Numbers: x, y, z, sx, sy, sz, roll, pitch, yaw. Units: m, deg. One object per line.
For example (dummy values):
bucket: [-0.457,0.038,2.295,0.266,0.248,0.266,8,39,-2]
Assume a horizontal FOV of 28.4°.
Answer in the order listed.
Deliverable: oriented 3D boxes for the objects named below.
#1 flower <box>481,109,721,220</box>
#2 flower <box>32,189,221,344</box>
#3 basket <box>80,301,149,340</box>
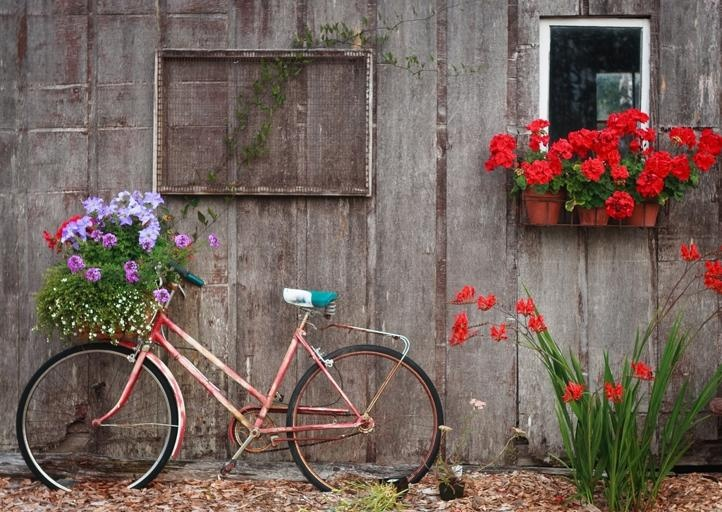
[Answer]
flower: [1.559,-0.570,9.241,1.487,0.774,0.389,3,2,5]
flower: [-1.492,0.137,9.289,1.064,0.894,0.822,-6,-36,0]
basket: [-1.560,0.420,9.083,0.458,0.271,0.265,3,2,-6]
